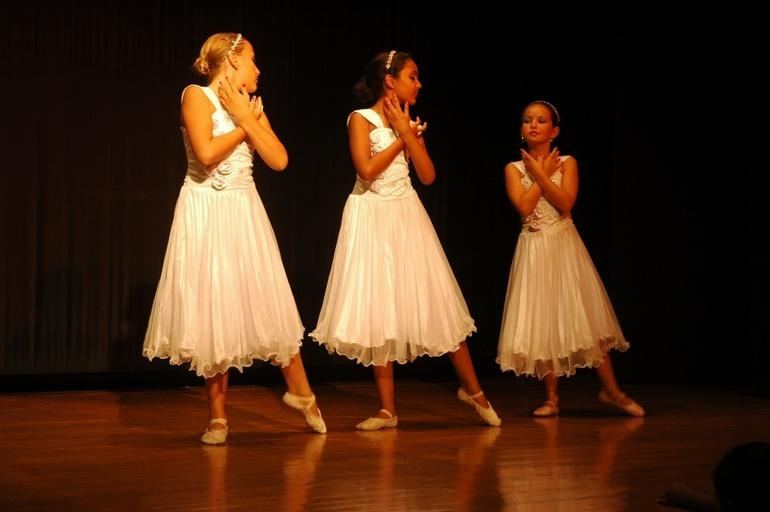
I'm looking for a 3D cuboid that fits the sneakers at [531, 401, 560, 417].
[{"bbox_3d":[0.894,0.852,3.596,0.070,0.060,0.139,-8,-12,41],"label":"sneakers"}]

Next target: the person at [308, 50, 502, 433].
[{"bbox_3d":[0.050,-0.109,3.378,0.865,1.971,0.317,0,0,-9],"label":"person"}]

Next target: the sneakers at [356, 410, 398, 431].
[{"bbox_3d":[-0.037,0.836,3.306,0.176,0.084,0.094,4,-10,-21],"label":"sneakers"}]

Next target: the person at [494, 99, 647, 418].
[{"bbox_3d":[1.000,-0.003,3.676,0.723,1.781,0.354,0,0,10],"label":"person"}]
